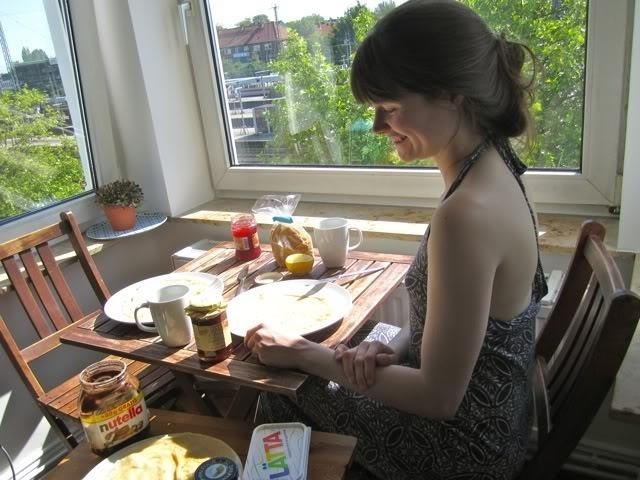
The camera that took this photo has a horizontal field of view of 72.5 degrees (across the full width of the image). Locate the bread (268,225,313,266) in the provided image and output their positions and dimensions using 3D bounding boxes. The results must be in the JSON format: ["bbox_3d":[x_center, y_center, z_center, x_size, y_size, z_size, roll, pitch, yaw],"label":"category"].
[{"bbox_3d":[-0.099,0.007,1.428,0.123,0.136,0.132,-23,21,-13],"label":"bread"}]

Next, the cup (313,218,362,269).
[{"bbox_3d":[0.047,0.006,1.398,0.192,0.176,0.142,0,15,3],"label":"cup"}]

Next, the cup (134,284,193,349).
[{"bbox_3d":[-0.358,0.179,1.112,0.176,0.140,0.116,-10,32,-9],"label":"cup"}]

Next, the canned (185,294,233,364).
[{"bbox_3d":[-0.251,0.199,1.005,0.083,0.141,0.091,0,23,13],"label":"canned"}]

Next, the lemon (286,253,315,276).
[{"bbox_3d":[-0.060,0.069,1.312,0.065,0.042,0.066,-2,8,-3],"label":"lemon"}]

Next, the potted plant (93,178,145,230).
[{"bbox_3d":[-0.869,-0.155,1.994,0.208,0.216,0.209,-1,18,-5],"label":"potted plant"}]
